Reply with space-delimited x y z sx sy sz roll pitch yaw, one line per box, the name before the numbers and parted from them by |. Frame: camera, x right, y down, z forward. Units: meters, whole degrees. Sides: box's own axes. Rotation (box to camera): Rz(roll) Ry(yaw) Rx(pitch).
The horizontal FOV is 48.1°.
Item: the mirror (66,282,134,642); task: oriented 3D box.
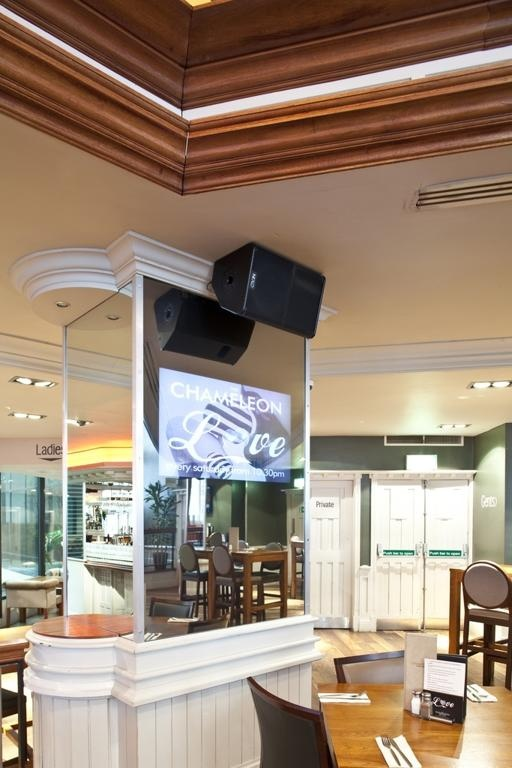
mirror | -0.732 0.327 2.577 0.142 1.462 0.975 3 -8 -27
